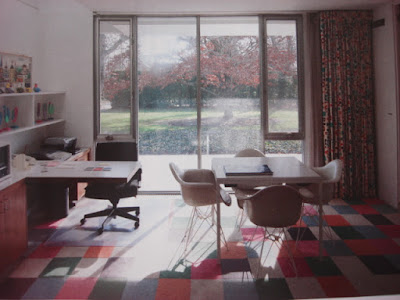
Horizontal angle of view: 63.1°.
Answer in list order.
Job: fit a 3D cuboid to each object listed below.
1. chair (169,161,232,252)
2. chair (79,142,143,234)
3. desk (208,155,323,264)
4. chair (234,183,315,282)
[{"bbox_3d":[-0.002,0.777,4.715,1.041,1.372,1.048,-2,7,-1],"label":"chair"},{"bbox_3d":[-1.353,0.444,4.926,0.885,1.367,0.907,-1,5,0],"label":"chair"},{"bbox_3d":[0.907,0.692,4.270,1.212,0.904,1.402,-1,5,0],"label":"desk"},{"bbox_3d":[0.924,0.902,4.194,0.953,1.239,0.913,-2,13,-2],"label":"chair"}]
